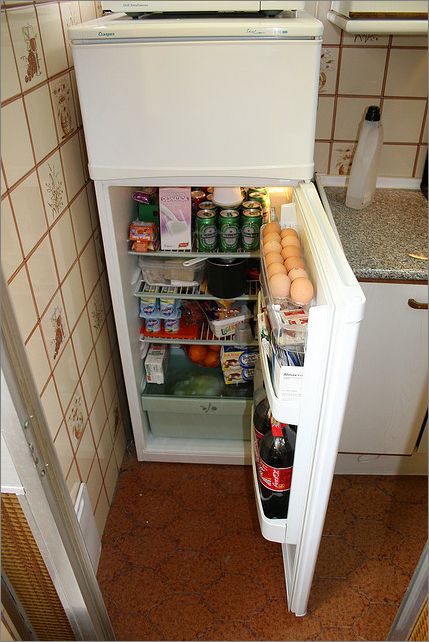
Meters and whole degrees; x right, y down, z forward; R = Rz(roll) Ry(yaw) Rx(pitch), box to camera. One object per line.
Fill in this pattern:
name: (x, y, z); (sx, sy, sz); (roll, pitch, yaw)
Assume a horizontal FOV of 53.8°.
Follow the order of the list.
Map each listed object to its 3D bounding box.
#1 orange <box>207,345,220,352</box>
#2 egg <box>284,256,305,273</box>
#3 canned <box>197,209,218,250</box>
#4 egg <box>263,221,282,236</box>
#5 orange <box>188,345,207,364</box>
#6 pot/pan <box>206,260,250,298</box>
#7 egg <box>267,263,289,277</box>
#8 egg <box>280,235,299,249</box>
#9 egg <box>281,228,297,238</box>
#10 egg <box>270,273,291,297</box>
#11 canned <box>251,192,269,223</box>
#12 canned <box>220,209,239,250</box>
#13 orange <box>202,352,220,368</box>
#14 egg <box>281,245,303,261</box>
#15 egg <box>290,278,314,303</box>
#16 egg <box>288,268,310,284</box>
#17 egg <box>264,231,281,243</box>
orange: (0.002, 0.120, 1.828); (0.035, 0.022, 0.030); (-1, 17, -18)
egg: (0.163, -0.119, 0.864); (0.031, 0.040, 0.033); (-5, 23, 1)
canned: (-0.024, -0.299, 1.343); (0.078, 0.154, 0.087); (3, 46, 2)
egg: (0.144, -0.233, 1.050); (0.035, 0.046, 0.037); (-3, 24, -6)
orange: (-0.071, 0.141, 1.857); (0.073, 0.082, 0.073); (9, 4, 0)
pot/pan: (0.041, -0.143, 1.397); (0.121, 0.137, 0.133); (-1, 44, 0)
egg: (0.130, -0.107, 0.856); (0.030, 0.038, 0.032); (-4, 28, -1)
egg: (0.167, -0.180, 0.949); (0.031, 0.041, 0.034); (-3, 26, -1)
egg: (0.173, -0.209, 0.991); (0.027, 0.036, 0.029); (-5, 29, -3)
egg: (0.121, -0.076, 0.843); (0.038, 0.050, 0.040); (-15, 9, -1)
canned: (0.143, -0.364, 1.354); (0.063, 0.123, 0.068); (4, 41, 8)
canned: (0.045, -0.294, 1.326); (0.075, 0.147, 0.083); (1, 47, 1)
orange: (-0.014, 0.166, 1.807); (0.056, 0.074, 0.063); (0, 31, -4)
egg: (0.163, -0.148, 0.904); (0.030, 0.039, 0.032); (-2, 28, 0)
egg: (0.161, -0.055, 0.778); (0.042, 0.056, 0.044); (-7, 20, 6)
egg: (0.162, -0.093, 0.824); (0.027, 0.035, 0.028); (-1, 25, 1)
egg: (0.138, -0.200, 0.999); (0.027, 0.035, 0.029); (-5, 28, -7)
